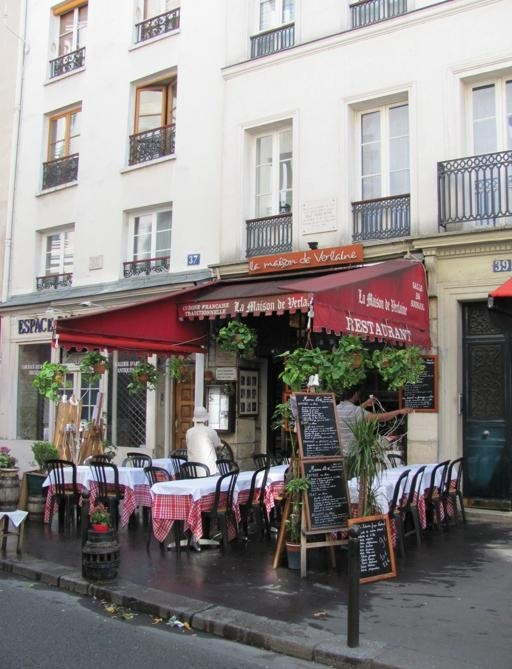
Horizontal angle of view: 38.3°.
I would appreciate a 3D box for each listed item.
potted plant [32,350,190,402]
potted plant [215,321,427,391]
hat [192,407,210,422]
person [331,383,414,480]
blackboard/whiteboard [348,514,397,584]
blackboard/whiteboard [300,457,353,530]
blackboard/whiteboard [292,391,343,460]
[{"bbox_3d":[-2.458,0.743,13.069,1.859,0.762,0.676,5,-43,-13],"label":"potted plant"},{"bbox_3d":[0.869,0.238,9.625,1.918,0.830,0.694,4,30,2],"label":"potted plant"},{"bbox_3d":[-0.718,1.039,9.445,0.171,0.114,0.204,-5,12,-8],"label":"hat"},{"bbox_3d":[1.172,1.138,7.506,0.630,1.097,0.512,0,-16,31],"label":"person"},{"bbox_3d":[1.016,1.851,6.401,0.534,0.555,0.163,3,-5,-43],"label":"blackboard/whiteboard"},{"bbox_3d":[0.623,1.467,6.720,0.046,0.708,0.562,-15,-17,37],"label":"blackboard/whiteboard"},{"bbox_3d":[0.566,0.859,6.915,0.565,0.778,0.248,-1,-8,-38],"label":"blackboard/whiteboard"}]
